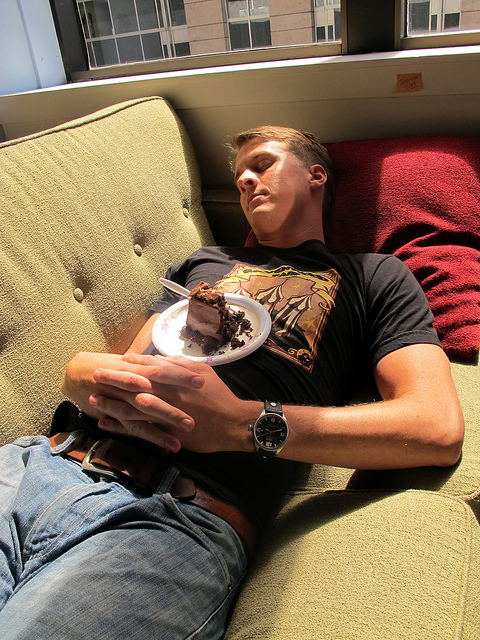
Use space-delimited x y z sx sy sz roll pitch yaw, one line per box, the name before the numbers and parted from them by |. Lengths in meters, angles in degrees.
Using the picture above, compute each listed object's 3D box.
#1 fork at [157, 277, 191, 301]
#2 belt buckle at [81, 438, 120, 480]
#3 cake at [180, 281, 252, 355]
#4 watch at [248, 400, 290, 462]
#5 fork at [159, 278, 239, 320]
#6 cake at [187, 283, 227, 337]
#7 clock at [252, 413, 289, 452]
fork | -0.172 -0.077 1.233 0.123 0.016 0.019 39 23 31
belt buckle | -0.234 0.251 0.837 0.065 0.044 0.022 8 -2 21
cake | -0.060 -0.031 1.028 0.110 0.134 0.159 23 55 18
watch | 0.055 0.195 0.851 0.068 0.070 0.092 5 34 23
fork | -0.091 -0.045 1.095 0.021 0.021 0.190 -16 40 -43
cake | -0.070 -0.022 1.024 0.075 0.100 0.065 15 37 15
clock | 0.045 0.201 0.858 0.049 0.066 0.070 4 57 1
